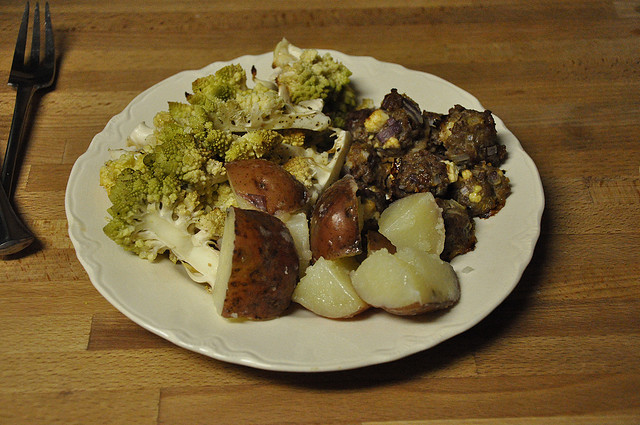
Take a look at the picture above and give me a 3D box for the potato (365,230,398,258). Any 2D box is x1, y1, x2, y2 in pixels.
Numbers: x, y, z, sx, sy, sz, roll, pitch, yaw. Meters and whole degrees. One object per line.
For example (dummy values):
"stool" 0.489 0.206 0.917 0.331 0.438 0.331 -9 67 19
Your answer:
"potato" 0.367 0.187 4.208 0.043 0.144 0.200 22 38 28

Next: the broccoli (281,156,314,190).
"broccoli" -0.155 -0.254 4.403 0.204 0.086 0.197 18 33 -30

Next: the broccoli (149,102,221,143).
"broccoli" -0.896 -0.592 4.310 0.298 0.108 0.308 -1 51 4

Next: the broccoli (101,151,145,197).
"broccoli" -1.252 -0.224 4.381 0.266 0.107 0.270 2 51 40

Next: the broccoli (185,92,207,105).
"broccoli" -0.806 -0.730 4.328 0.106 0.043 0.081 -13 42 -12

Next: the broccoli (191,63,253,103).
"broccoli" -0.653 -0.856 4.434 0.301 0.107 0.285 -28 58 -20
